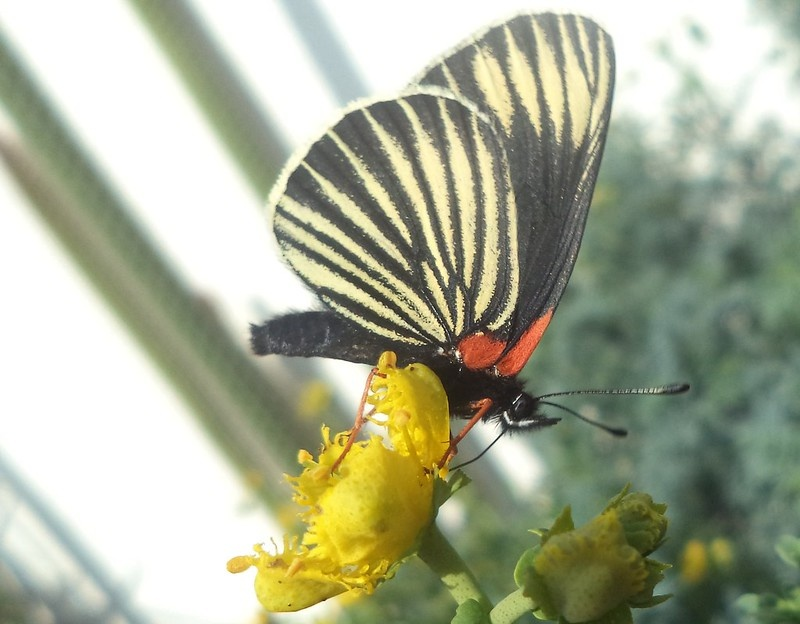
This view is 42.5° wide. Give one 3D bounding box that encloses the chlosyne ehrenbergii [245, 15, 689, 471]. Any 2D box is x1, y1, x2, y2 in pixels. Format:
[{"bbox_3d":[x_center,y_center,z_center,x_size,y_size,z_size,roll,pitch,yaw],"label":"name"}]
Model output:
[{"bbox_3d":[0.117,-0.102,1.888,0.792,0.708,0.258,-29,9,-8],"label":"chlosyne ehrenbergii"}]
